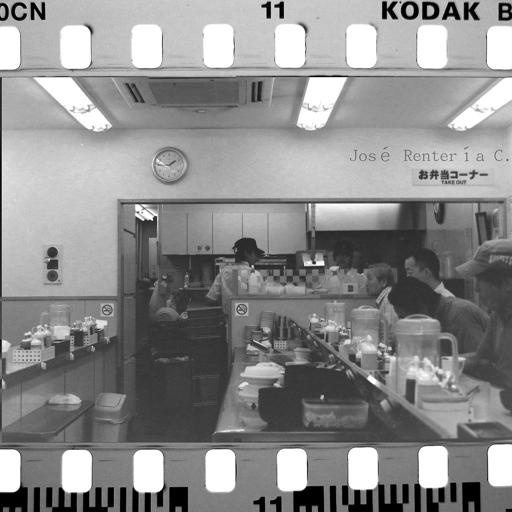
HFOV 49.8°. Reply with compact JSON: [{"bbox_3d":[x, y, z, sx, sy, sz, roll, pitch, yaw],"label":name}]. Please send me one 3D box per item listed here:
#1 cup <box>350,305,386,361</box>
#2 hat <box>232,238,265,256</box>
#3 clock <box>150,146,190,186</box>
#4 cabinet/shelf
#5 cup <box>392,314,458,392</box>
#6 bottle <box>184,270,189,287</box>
[{"bbox_3d":[0.363,0.261,1.867,0.102,0.212,0.116,0,-4,-2],"label":"cup"},{"bbox_3d":[-0.036,-0.044,2.750,0.103,0.067,0.078,1,1,-18],"label":"hat"},{"bbox_3d":[-0.331,-0.347,2.081,0.121,0.142,0.142,-4,41,-14],"label":"clock"},{"bbox_3d":[-0.158,-0.142,2.999,0.948,0.286,0.339,-1,-1,19],"label":"cabinet/shelf"},{"bbox_3d":[0.418,0.235,1.382,0.150,0.285,0.133,0,-2,16],"label":"cup"},{"bbox_3d":[-0.407,0.137,3.246,0.032,0.091,0.120,-1,-1,-7],"label":"bottle"}]
